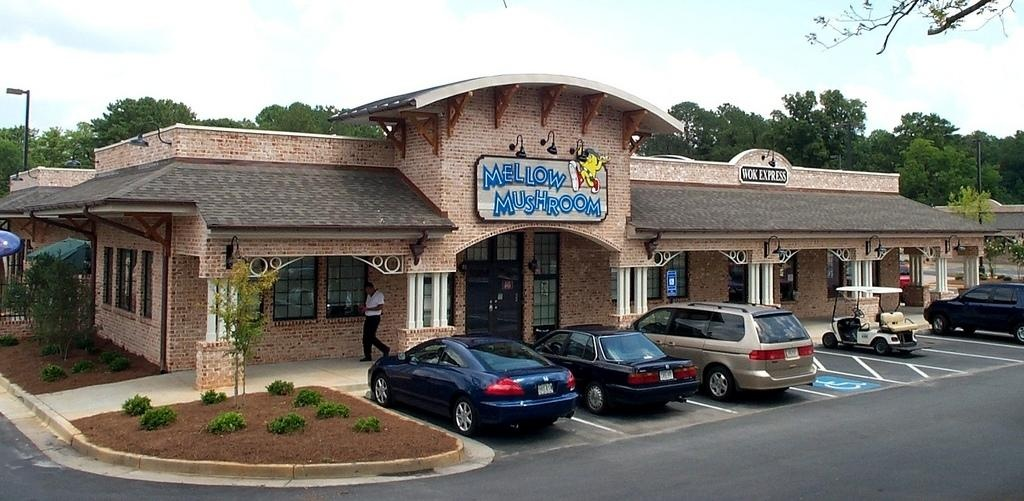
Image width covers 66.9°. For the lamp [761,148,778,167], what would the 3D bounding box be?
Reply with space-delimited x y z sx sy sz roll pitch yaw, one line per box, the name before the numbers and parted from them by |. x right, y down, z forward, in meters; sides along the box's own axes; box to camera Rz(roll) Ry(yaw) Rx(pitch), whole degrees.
lamp | 14.397 -5.188 43.640 0.628 1.018 0.952 -2 -2 28

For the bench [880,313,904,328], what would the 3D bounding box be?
bench | 17.236 3.131 35.384 1.328 0.557 0.431 1 -3 -35

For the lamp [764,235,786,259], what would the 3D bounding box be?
lamp | 12.799 -0.207 38.200 0.988 1.024 0.243 0 -3 -27

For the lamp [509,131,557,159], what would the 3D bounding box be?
lamp | 0.891 -4.565 33.472 1.010 1.145 2.418 -1 -3 -31

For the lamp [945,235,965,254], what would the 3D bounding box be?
lamp | 25.341 -0.363 44.469 0.772 1.004 2.724 -3 -3 37
